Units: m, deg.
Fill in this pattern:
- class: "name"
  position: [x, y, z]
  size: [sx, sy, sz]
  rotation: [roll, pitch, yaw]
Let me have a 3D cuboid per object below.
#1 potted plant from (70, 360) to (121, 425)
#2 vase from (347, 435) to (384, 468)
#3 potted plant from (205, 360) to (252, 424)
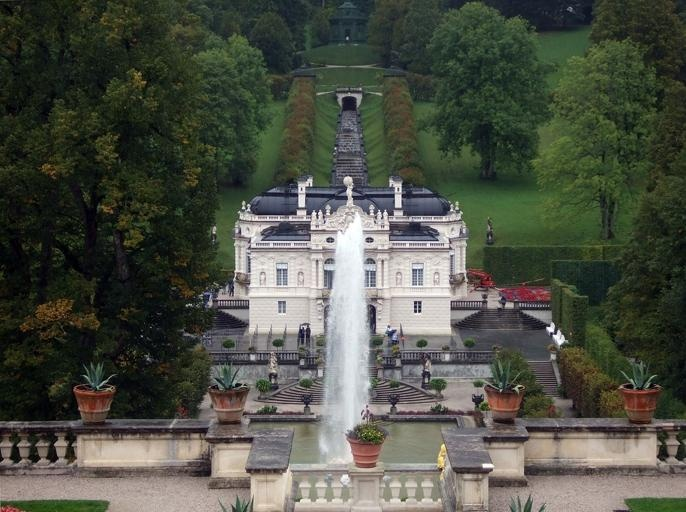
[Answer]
- class: "potted plant"
  position: [-9.241, 5.074, 66.396]
  size: [1.585, 1.906, 1.436]
  rotation: [4, -7, -3]
- class: "vase"
  position: [0.757, 7.143, 65.356]
  size: [1.147, 0.762, 1.112]
  rotation: [1, -5, -7]
- class: "potted plant"
  position: [-4.261, 5.098, 66.199]
  size: [1.322, 2.288, 1.292]
  rotation: [-5, 4, -12]
